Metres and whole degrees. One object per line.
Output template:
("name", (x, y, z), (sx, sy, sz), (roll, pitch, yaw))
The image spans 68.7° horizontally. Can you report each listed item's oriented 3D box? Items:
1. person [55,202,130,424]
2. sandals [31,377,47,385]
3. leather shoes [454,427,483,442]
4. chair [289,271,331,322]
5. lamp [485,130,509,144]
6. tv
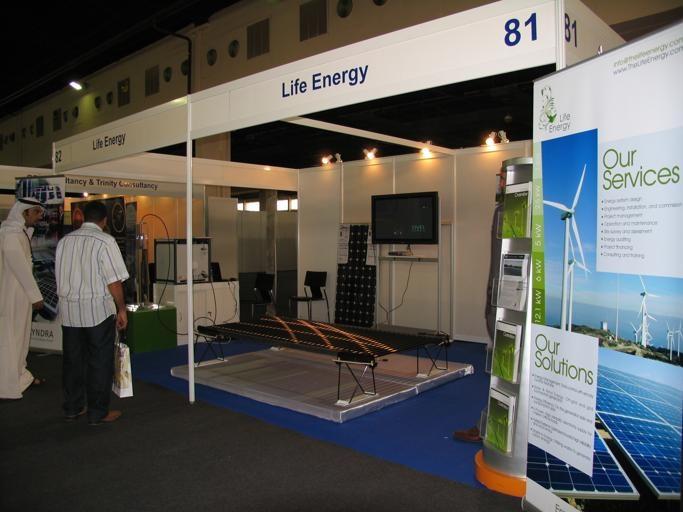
("person", (-2.427, 0.537, 4.880), (0.695, 2.113, 0.392), (2, 5, 16))
("sandals", (-3.672, 1.508, 6.053), (0.102, 0.055, 0.150), (2, 0, -22))
("leather shoes", (1.139, 1.597, 4.532), (0.269, 0.117, 0.103), (1, -3, 23))
("chair", (-0.591, 0.788, 9.191), (0.552, 1.041, 0.566), (1, 0, 40))
("lamp", (2.452, -1.870, 7.880), (0.345, 0.267, 0.530), (2, 5, 17))
("tv", (1.040, -0.527, 8.025), (1.002, 0.771, 0.114), (2, 5, 37))
